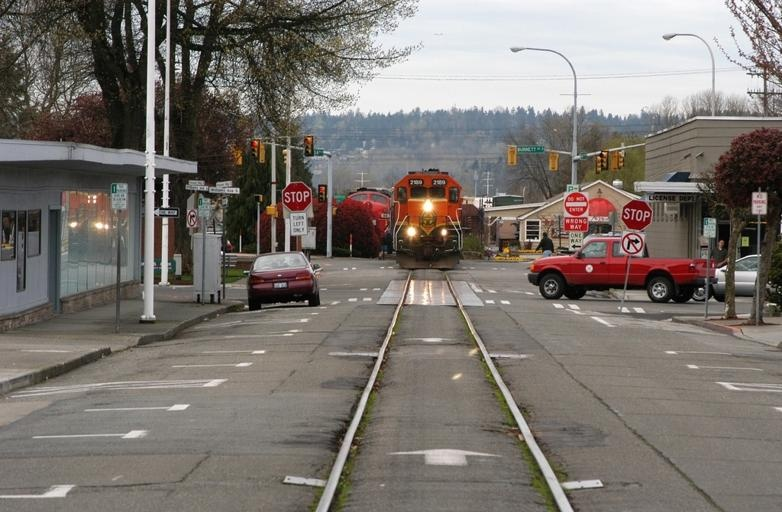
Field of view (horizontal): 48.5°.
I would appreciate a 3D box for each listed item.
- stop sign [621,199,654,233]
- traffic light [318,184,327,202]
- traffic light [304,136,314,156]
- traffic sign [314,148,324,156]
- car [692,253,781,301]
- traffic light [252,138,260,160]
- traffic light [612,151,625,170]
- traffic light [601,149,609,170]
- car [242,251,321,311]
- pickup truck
[{"bbox_3d":[8.618,-1.444,30.284,0.869,1.111,1.360,-1,1,20],"label":"stop sign"},{"bbox_3d":[-4.719,-4.354,58.981,0.531,1.104,1.587,-2,1,-12],"label":"traffic light"},{"bbox_3d":[-4.213,-5.738,44.376,0.448,0.917,1.958,-1,1,-9],"label":"traffic light"},{"bbox_3d":[-4.329,-6.120,50.934,0.598,0.483,0.629,2,7,8],"label":"traffic sign"},{"bbox_3d":[13.397,0.821,33.576,3.356,1.596,1.946,2,-1,10],"label":"car"},{"bbox_3d":[-6.919,-5.517,44.331,0.365,0.879,1.160,-1,1,-7],"label":"traffic light"},{"bbox_3d":[12.649,-5.400,48.227,0.706,0.966,2.036,-1,1,13],"label":"traffic light"},{"bbox_3d":[12.311,-5.604,49.834,0.432,1.071,1.902,-1,1,14],"label":"traffic light"},{"bbox_3d":[-3.569,0.807,28.427,2.243,1.823,1.192,-2,1,-11],"label":"car"},{"bbox_3d":[8.501,0.066,32.500,6.003,2.556,2.930,2,-1,11],"label":"pickup truck"}]
